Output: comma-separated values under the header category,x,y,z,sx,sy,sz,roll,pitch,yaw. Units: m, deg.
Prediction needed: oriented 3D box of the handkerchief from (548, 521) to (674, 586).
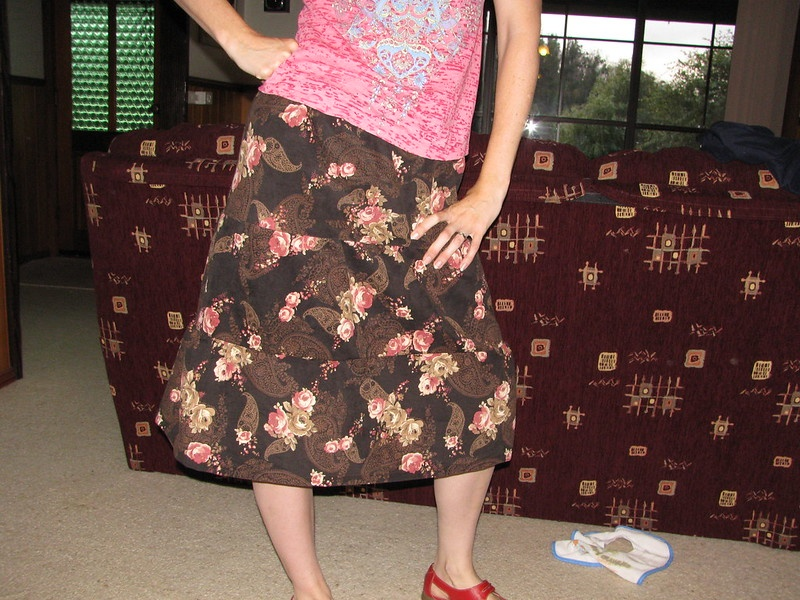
category,x,y,z,sx,sy,sz,roll,pitch,yaw
handkerchief,0.621,0.744,1.917,0.210,0.032,0.153,2,13,23
